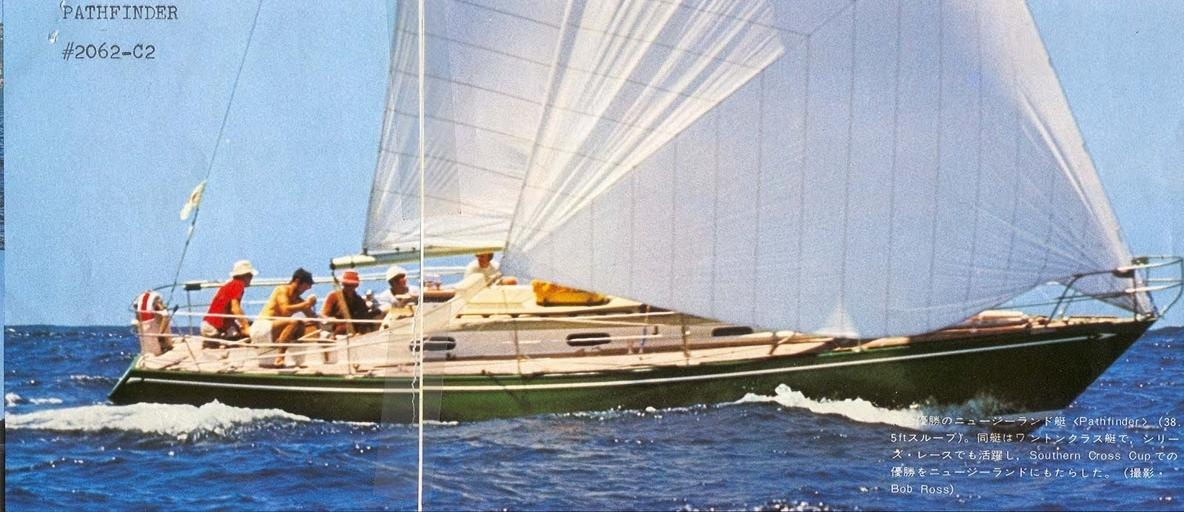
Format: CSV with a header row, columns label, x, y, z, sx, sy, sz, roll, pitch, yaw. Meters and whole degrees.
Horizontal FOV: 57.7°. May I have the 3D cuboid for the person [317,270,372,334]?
label,x,y,z,sx,sy,sz,roll,pitch,yaw
person,-2.687,0.556,11.946,0.486,0.773,0.585,5,6,41

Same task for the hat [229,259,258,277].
label,x,y,z,sx,sy,sz,roll,pitch,yaw
hat,-3.848,0.147,11.904,0.315,0.136,0.339,-2,-8,13
